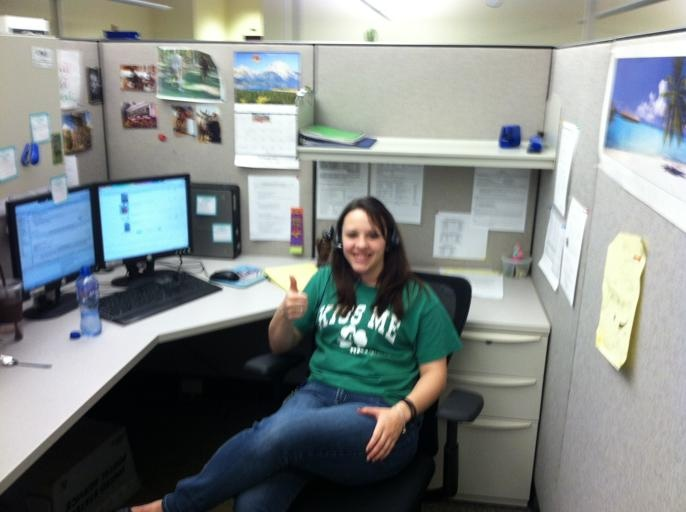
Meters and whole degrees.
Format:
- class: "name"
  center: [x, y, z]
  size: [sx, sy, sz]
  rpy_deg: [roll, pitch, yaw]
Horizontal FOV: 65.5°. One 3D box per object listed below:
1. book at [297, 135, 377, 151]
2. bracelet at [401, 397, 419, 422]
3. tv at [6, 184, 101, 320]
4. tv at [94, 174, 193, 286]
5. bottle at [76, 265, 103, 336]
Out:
- class: "book"
  center: [-0.018, -0.474, 2.219]
  size: [0.326, 0.043, 0.169]
  rpy_deg: [0, 16, -6]
- class: "bracelet"
  center: [0.212, 0.472, 1.645]
  size: [0.022, 0.064, 0.054]
  rpy_deg: [-18, 7, -31]
- class: "tv"
  center: [-1.067, -0.013, 1.934]
  size: [0.151, 0.453, 0.387]
  rpy_deg: [7, 16, 18]
- class: "tv"
  center: [-0.844, -0.109, 2.234]
  size: [0.160, 0.442, 0.376]
  rpy_deg: [14, 19, 40]
- class: "bottle"
  center: [-0.914, 0.149, 1.905]
  size: [0.072, 0.203, 0.252]
  rpy_deg: [-6, 18, -26]
